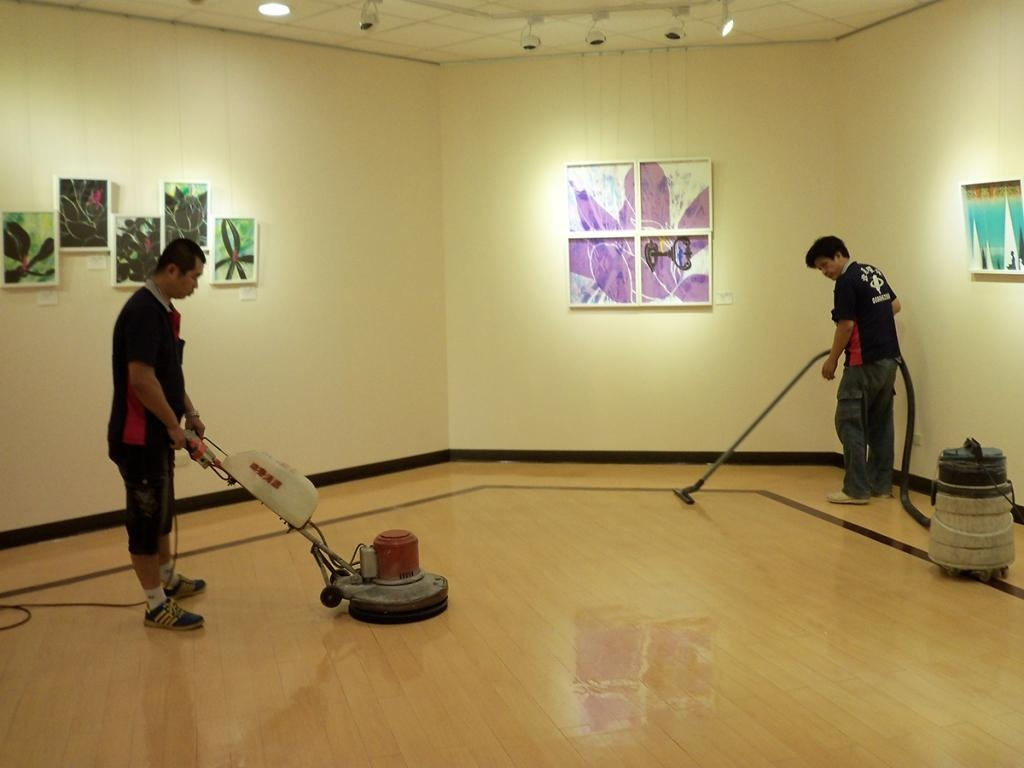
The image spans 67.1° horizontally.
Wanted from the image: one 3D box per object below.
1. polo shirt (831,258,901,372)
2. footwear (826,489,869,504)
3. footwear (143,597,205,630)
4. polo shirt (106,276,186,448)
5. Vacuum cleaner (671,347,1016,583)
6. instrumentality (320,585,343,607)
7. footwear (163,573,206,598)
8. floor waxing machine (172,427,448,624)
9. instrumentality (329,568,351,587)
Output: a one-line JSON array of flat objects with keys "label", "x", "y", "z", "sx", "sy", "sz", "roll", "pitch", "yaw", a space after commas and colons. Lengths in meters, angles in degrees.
[{"label": "polo shirt", "x": 2.473, "y": -0.471, "z": 5.369, "sx": 0.598, "sy": 0.689, "sz": 0.315, "roll": -16, "pitch": 17, "yaw": -34}, {"label": "footwear", "x": 2.371, "y": 0.817, "z": 5.456, "sx": 0.244, "sy": 0.122, "sz": 0.100, "roll": 4, "pitch": 3, "yaw": 30}, {"label": "footwear", "x": -1.665, "y": 1.147, "z": 3.843, "sx": 0.294, "sy": 0.159, "sz": 0.128, "roll": 2, "pitch": 3, "yaw": -2}, {"label": "polo shirt", "x": -1.746, "y": -0.068, "z": 3.644, "sx": 0.356, "sy": 0.786, "sz": 0.308, "roll": -5, "pitch": 9, "yaw": -25}, {"label": "Vacuum cleaner", "x": 2.200, "y": 0.361, "z": 5.734, "sx": 1.842, "sy": 1.225, "sz": 1.078, "roll": 1, "pitch": 1, "yaw": 21}, {"label": "instrumentality", "x": -0.899, "y": 1.058, "z": 3.841, "sx": 0.102, "sy": 0.117, "sz": 0.039, "roll": -23, "pitch": 16, "yaw": -3}, {"label": "footwear", "x": -1.772, "y": 1.073, "z": 4.175, "sx": 0.202, "sy": 0.107, "sz": 0.083, "roll": -5, "pitch": 9, "yaw": -34}, {"label": "floor waxing machine", "x": -0.834, "y": 0.738, "z": 4.198, "sx": 1.534, "sy": 1.214, "sz": 0.672, "roll": 0, "pitch": 4, "yaw": 0}, {"label": "instrumentality", "x": -0.887, "y": 0.985, "z": 3.951, "sx": 0.071, "sy": 0.084, "sz": 0.058, "roll": -14, "pitch": 18, "yaw": -9}]
